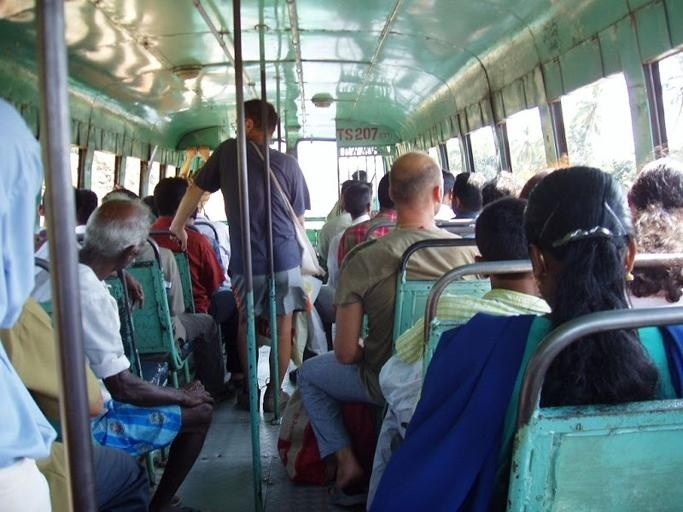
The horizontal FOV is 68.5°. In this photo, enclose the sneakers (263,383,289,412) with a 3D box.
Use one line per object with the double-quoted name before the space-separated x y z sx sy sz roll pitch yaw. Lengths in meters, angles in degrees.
"sneakers" -0.605 1.312 4.735 0.127 0.316 0.413 1 11 11
